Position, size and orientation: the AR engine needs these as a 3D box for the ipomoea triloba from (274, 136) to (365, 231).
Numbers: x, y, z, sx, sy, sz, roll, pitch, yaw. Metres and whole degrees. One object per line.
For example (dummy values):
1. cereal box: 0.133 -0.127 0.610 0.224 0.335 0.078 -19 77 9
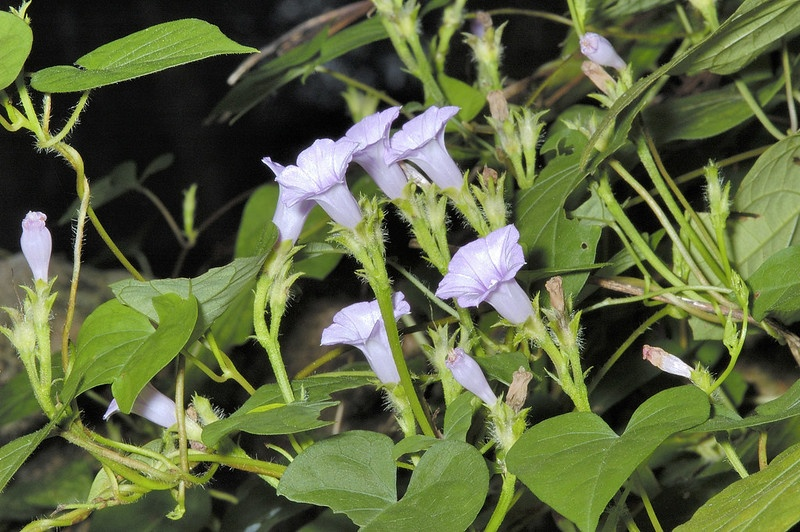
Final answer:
1. ipomoea triloba: -0.129 -0.142 1.339 0.156 0.106 0.152 -29 43 14

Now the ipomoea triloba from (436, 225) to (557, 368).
1. ipomoea triloba: 0.166 0.033 1.377 0.167 0.259 0.085 -37 16 5

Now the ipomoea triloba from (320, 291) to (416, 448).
1. ipomoea triloba: -0.036 0.186 1.380 0.130 0.266 0.155 -27 4 10

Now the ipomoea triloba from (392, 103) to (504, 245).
1. ipomoea triloba: 0.069 -0.158 1.376 0.132 0.214 0.132 -9 -4 2

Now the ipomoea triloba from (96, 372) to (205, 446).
1. ipomoea triloba: -0.439 0.261 1.433 0.095 0.180 0.101 -62 -1 31

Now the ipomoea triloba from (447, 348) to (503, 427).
1. ipomoea triloba: 0.118 0.189 1.323 0.053 0.118 0.082 -28 4 1
